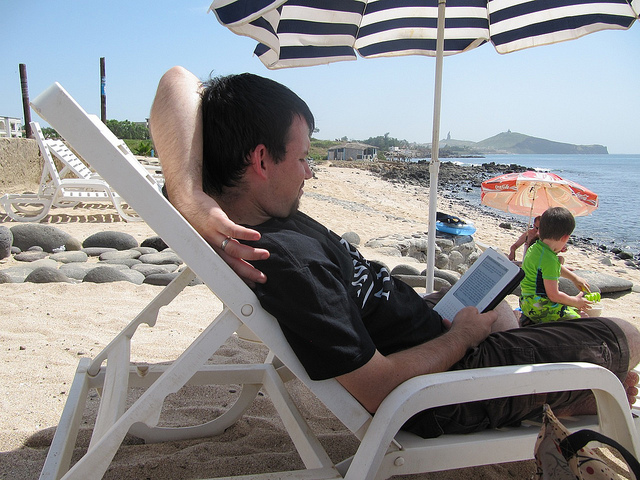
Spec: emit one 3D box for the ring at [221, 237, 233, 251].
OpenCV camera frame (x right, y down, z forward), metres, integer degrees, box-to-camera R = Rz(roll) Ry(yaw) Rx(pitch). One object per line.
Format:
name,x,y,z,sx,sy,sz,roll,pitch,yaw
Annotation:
ring,-0.368,0.011,1.831,0.039,0.041,0.042,39,-8,6
